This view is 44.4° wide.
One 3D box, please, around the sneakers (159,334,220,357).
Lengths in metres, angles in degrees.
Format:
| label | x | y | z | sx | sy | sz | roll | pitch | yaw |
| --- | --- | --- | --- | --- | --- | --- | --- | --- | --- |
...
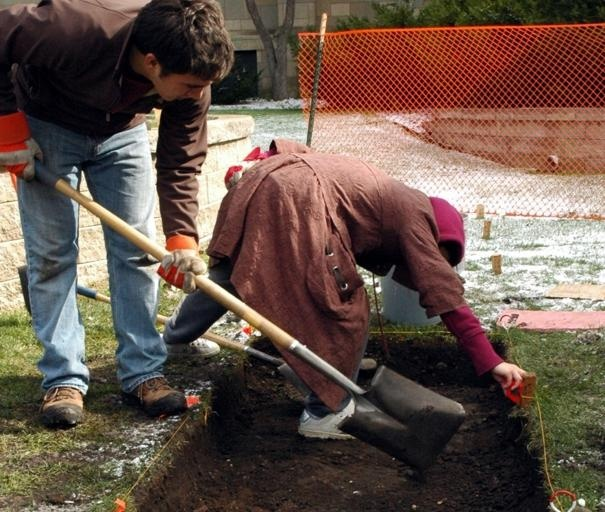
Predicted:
| label | x | y | z | sx | sy | sz | roll | pitch | yaw |
| --- | --- | --- | --- | --- | --- | --- | --- | --- | --- |
| sneakers | -0.694 | 0.557 | 4.609 | 0.326 | 0.085 | 0.120 | -2 | 15 | -10 |

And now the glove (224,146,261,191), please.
| label | x | y | z | sx | sy | sz | roll | pitch | yaw |
| --- | --- | --- | --- | --- | --- | --- | --- | --- | --- |
| glove | -0.423 | -0.564 | 4.780 | 0.181 | 0.168 | 0.347 | 19 | -15 | -3 |
